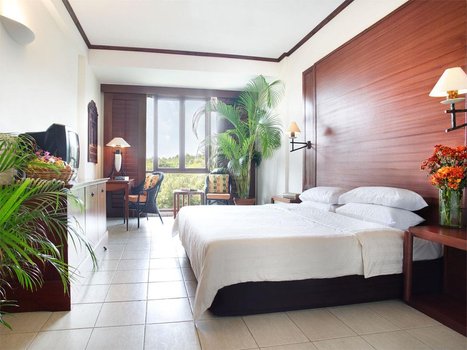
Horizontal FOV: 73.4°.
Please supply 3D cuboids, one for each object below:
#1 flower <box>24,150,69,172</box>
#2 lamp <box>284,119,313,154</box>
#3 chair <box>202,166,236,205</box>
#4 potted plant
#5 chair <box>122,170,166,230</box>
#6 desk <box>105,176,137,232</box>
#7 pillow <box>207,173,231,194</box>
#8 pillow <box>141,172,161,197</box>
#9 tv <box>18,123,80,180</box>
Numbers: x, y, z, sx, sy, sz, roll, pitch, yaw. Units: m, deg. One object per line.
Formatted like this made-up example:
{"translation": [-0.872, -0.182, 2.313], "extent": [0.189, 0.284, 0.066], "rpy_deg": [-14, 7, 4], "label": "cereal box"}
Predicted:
{"translation": [-1.426, -0.101, 2.430], "extent": [0.268, 0.125, 0.336], "rpy_deg": [3, -2, -38], "label": "flower"}
{"translation": [0.985, -0.579, 5.026], "extent": [0.502, 0.639, 0.319], "rpy_deg": [0, 0, -7], "label": "lamp"}
{"translation": [-0.279, 0.232, 6.614], "extent": [0.623, 0.926, 0.715], "rpy_deg": [0, -4, -4], "label": "chair"}
{"translation": [0.294, -0.658, 6.239], "extent": [1.565, 2.410, 1.183], "rpy_deg": [3, 7, 26], "label": "potted plant"}
{"translation": [-1.714, 0.450, 6.014], "extent": [0.852, 1.378, 0.962], "rpy_deg": [2, -2, -30], "label": "chair"}
{"translation": [-2.107, 0.535, 5.804], "extent": [0.470, 0.661, 0.856], "rpy_deg": [0, 2, -5], "label": "desk"}
{"translation": [-0.304, 0.200, 6.370], "extent": [0.352, 0.372, 0.128], "rpy_deg": [1, -6, -2], "label": "pillow"}
{"translation": [-1.533, 0.133, 5.837], "extent": [0.115, 0.433, 0.431], "rpy_deg": [21, -15, -30], "label": "pillow"}
{"translation": [-1.770, -0.287, 3.234], "extent": [0.527, 0.681, 0.729], "rpy_deg": [3, 3, -8], "label": "tv"}
